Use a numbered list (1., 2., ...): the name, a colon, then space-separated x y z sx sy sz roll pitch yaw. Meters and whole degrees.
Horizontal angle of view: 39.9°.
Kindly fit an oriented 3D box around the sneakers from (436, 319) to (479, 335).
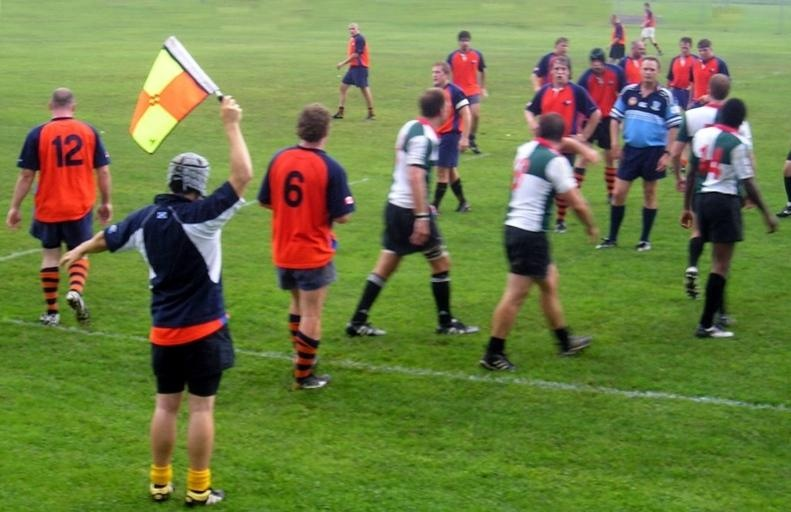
1. sneakers: 0.784 0.900 13.796 0.463 0.151 0.216 -2 2 -4

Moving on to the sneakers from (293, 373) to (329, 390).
1. sneakers: -0.951 1.442 12.600 0.425 0.170 0.143 -9 27 -7

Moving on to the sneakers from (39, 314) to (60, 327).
1. sneakers: -4.267 0.798 13.570 0.170 0.082 0.196 2 2 -11

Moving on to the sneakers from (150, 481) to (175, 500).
1. sneakers: -2.370 2.405 11.067 0.145 0.091 0.241 5 20 -2

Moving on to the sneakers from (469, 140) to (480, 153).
1. sneakers: 1.580 -2.175 21.809 0.203 0.252 0.310 -2 12 -13

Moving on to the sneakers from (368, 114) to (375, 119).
1. sneakers: -0.545 -3.188 24.622 0.157 0.213 0.399 1 11 -1

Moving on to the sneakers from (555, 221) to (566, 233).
1. sneakers: 2.591 -0.457 17.292 0.104 0.174 0.307 12 18 44

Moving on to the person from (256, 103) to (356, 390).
1. person: -0.992 -0.100 12.423 0.993 3.222 0.562 0 13 -3

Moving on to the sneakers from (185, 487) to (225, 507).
1. sneakers: -1.921 2.449 11.084 0.437 0.158 0.141 -4 57 -12

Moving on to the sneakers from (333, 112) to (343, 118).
1. sneakers: -1.326 -3.180 24.798 0.195 0.079 0.264 -4 25 -45

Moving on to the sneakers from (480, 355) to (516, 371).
1. sneakers: 1.179 1.276 12.855 0.489 0.180 0.153 2 35 -6

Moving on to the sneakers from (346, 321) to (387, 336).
1. sneakers: -0.363 0.909 13.682 0.536 0.177 0.177 -1 6 -9

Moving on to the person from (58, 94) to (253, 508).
1. person: -2.108 0.610 11.010 1.351 3.775 0.868 -2 13 -13
